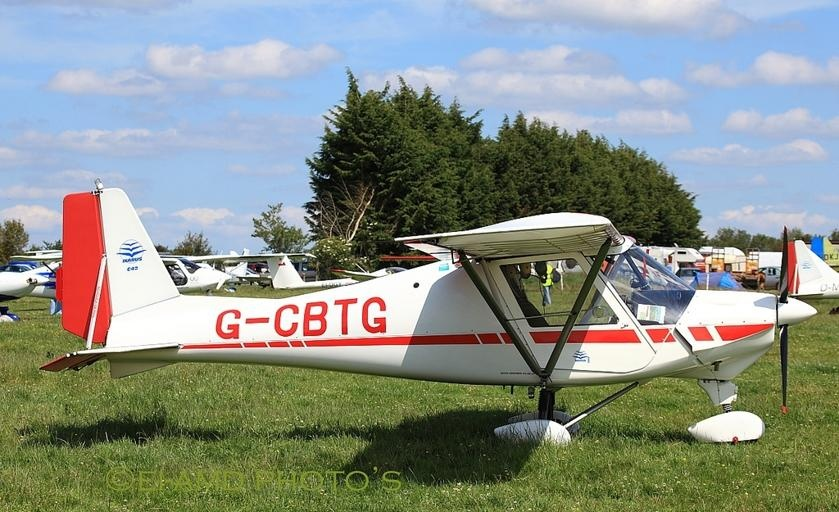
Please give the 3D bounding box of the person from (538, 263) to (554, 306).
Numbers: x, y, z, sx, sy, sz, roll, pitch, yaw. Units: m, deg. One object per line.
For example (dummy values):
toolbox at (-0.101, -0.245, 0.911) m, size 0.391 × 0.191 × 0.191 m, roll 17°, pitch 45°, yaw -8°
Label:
person at (2.276, 0.495, 18.421) m, size 0.237 × 0.753 × 0.169 m, roll 2°, pitch -14°, yaw 6°
